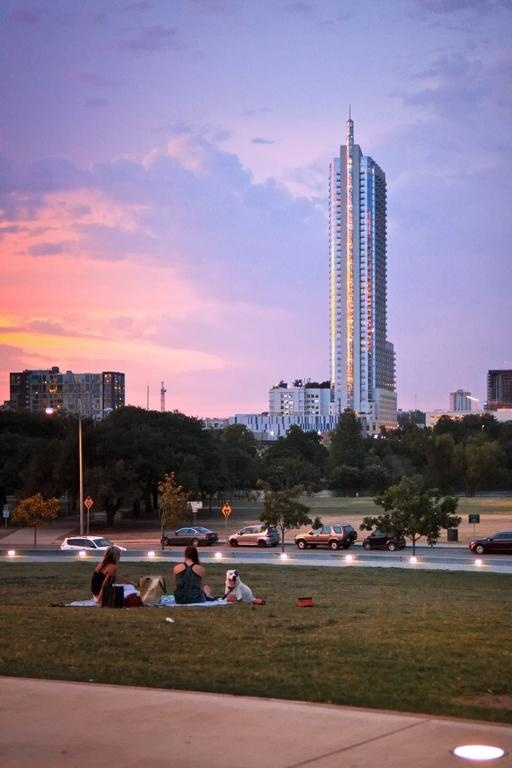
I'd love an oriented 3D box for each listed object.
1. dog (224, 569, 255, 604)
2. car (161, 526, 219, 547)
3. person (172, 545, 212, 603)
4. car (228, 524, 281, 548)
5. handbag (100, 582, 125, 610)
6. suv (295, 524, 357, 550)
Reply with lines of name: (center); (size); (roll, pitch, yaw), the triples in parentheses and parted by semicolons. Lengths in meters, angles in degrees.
dog: (-0.317, 3.441, 24.554); (0.484, 0.398, 0.921); (-3, -2, -2)
car: (-2.695, 6.101, 57.277); (1.914, 0.750, 0.925); (3, -4, 12)
person: (-1.037, 3.068, 23.192); (0.671, 0.966, 0.678); (-2, 7, -23)
car: (-0.078, 6.034, 56.517); (1.407, 0.692, 1.010); (3, -3, 12)
handbag: (-2.279, 3.356, 22.540); (0.405, 0.602, 0.319); (2, -9, -10)
suv: (2.622, 5.808, 54.379); (1.786, 0.921, 1.057); (4, -2, 18)
